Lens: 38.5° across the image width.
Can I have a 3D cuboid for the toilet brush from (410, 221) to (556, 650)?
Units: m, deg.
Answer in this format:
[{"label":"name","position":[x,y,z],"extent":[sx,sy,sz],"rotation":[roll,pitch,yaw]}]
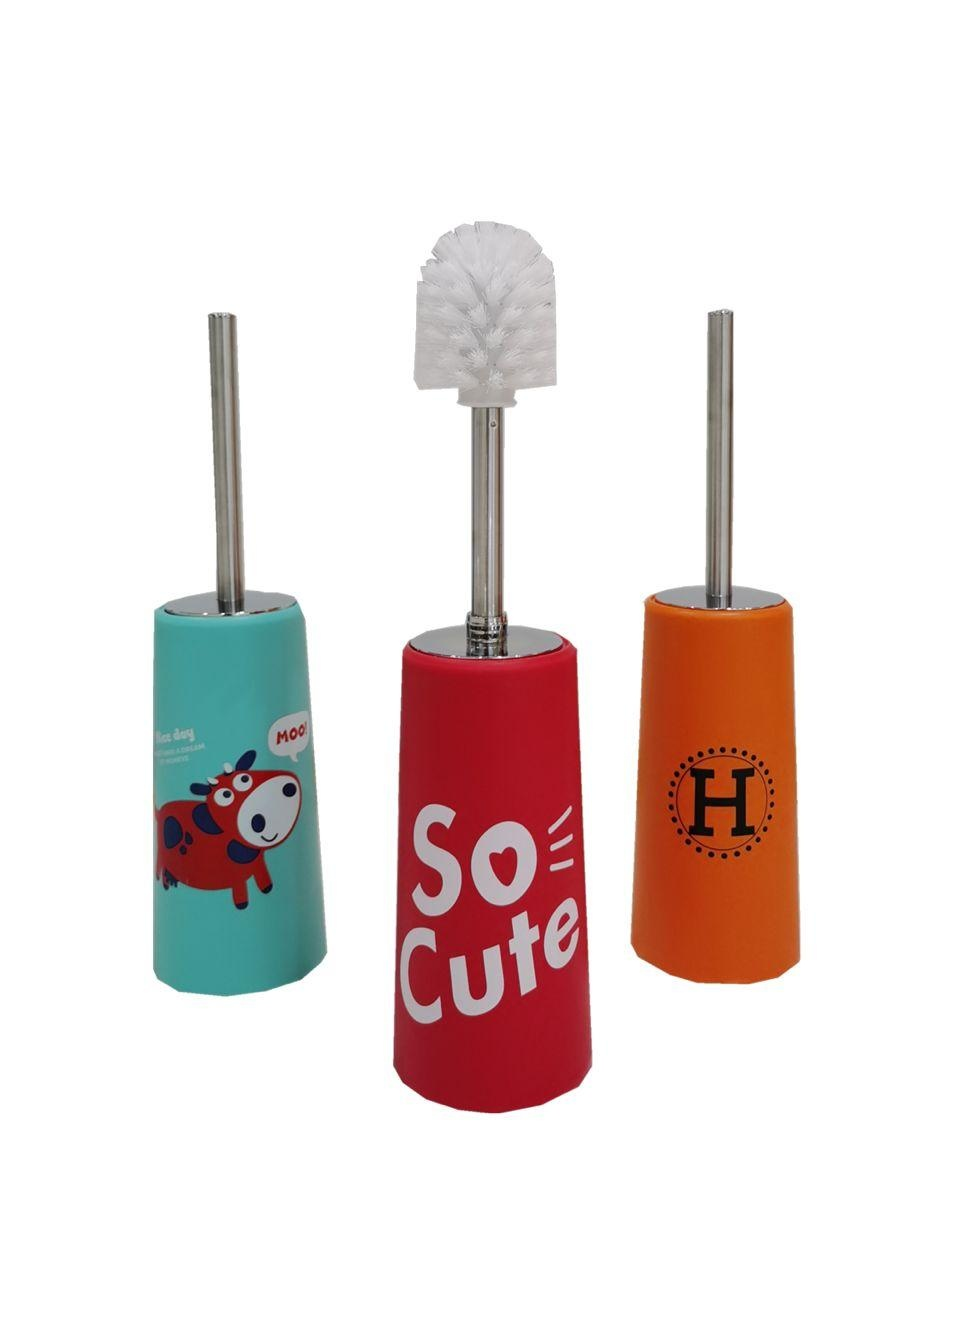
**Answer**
[{"label":"toilet brush","position":[0.009,-0.249,1.489],"extent":[0.166,0.476,0.292],"rotation":[-1,-2,-2]}]
